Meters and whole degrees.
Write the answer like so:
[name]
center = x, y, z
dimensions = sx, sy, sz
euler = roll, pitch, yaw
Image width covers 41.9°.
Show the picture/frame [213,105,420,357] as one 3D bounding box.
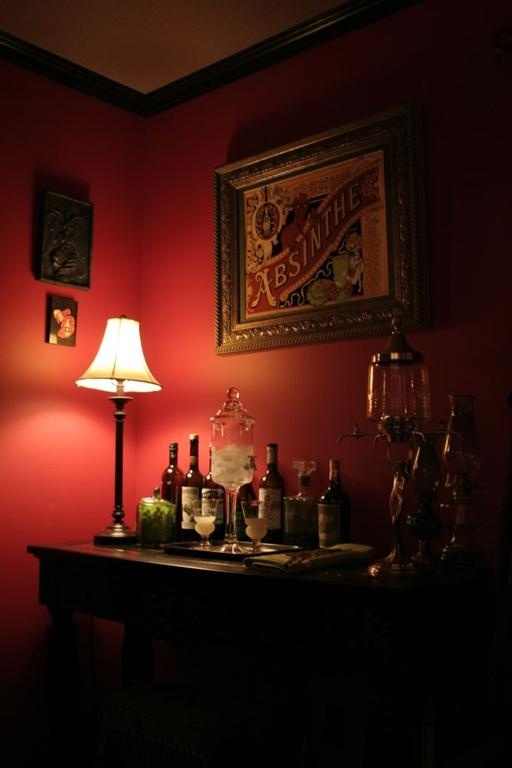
[picture/frame]
center = 0.222, -0.507, 2.248
dimensions = 0.075, 0.743, 0.886
euler = 6, -10, -42
